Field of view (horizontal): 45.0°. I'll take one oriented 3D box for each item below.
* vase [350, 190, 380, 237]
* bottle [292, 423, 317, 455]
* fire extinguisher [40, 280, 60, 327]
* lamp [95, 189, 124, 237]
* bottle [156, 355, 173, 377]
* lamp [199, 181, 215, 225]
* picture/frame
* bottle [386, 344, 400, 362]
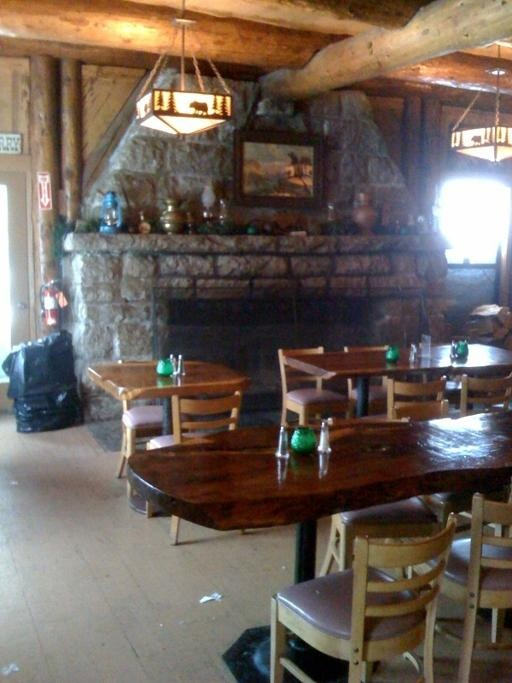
[{"bbox_3d":[1.032,-1.224,5.843,0.250,0.424,0.298,1,7,6],"label":"vase"},{"bbox_3d":[0.161,0.331,2.081,0.082,0.083,0.085,0,2,5],"label":"bottle"},{"bbox_3d":[-1.727,-0.314,5.168,0.152,0.408,0.153,-2,8,-15],"label":"fire extinguisher"},{"bbox_3d":[-1.181,-1.059,5.021,0.194,0.360,0.226,-2,7,-12],"label":"lamp"},{"bbox_3d":[-0.549,0.151,3.576,0.098,0.093,0.093,1,3,-33],"label":"bottle"},{"bbox_3d":[-0.416,-1.184,5.313,0.134,0.392,0.216,-1,7,-5],"label":"lamp"},{"bbox_3d":[0.160,-1.566,5.527,0.861,0.633,0.074,-3,10,-22],"label":"picture/frame"},{"bbox_3d":[0.914,0.070,4.126,0.101,0.135,0.099,0,6,0],"label":"bottle"}]
